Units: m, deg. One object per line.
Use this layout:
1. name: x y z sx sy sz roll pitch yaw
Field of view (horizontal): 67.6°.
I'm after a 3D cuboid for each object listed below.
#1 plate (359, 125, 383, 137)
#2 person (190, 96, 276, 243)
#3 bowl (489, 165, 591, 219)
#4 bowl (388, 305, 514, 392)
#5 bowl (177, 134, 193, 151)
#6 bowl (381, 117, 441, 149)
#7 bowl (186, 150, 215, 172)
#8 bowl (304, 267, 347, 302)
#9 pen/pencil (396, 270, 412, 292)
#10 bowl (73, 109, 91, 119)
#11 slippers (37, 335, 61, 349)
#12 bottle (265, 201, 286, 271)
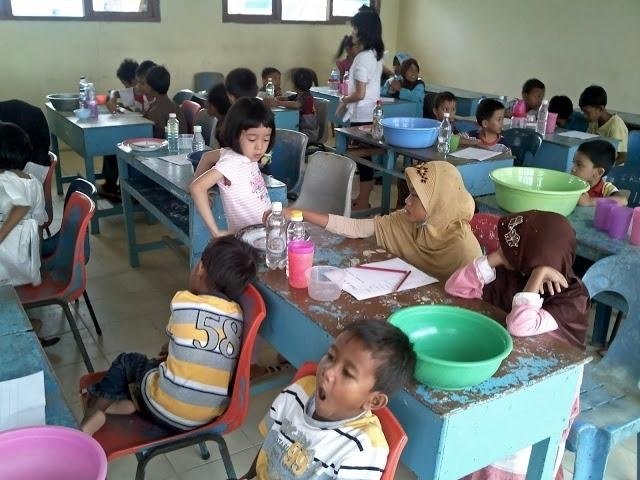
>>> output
1. plate: 0.460 -0.944 4.112 0.163 0.052 0.162 -14 28 -41
2. person: -0.469 -0.370 2.608 0.433 1.003 0.494 3 51 -8
3. bowl: 1.137 -0.272 2.552 0.372 0.158 0.380 -2 16 1
4. bowl: 0.413 0.300 1.410 0.251 0.102 0.256 2 18 0
5. bowl: -0.988 -0.737 3.583 0.125 0.097 0.110 -14 23 -37
6. bowl: 0.708 -0.846 3.847 0.424 0.163 0.417 3 18 -1
7. bowl: -0.794 -0.545 3.138 0.181 0.079 0.196 0 13 0
8. bowl: 0.021 0.157 1.718 0.119 0.082 0.122 0 22 0
9. pen/pencil: 0.318 0.159 1.827 0.014 0.014 0.128 -10 17 31
10. bowl: -2.083 -1.120 4.228 0.112 0.068 0.110 0 23 0
11. slippers: -1.552 0.592 2.797 0.138 0.063 0.048 -5 29 -10
12. bottle: -0.180 -0.042 1.974 0.090 0.258 0.225 0 19 -6
